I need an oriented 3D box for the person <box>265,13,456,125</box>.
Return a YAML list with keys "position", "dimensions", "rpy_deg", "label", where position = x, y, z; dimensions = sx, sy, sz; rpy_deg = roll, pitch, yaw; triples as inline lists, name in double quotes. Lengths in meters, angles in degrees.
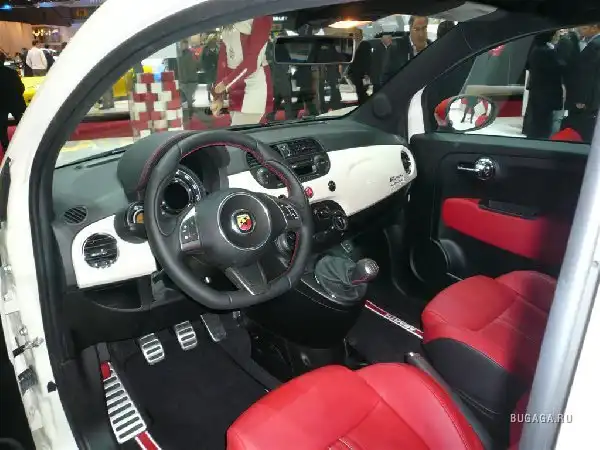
- position: [0.281, -1.006, 2.716]
  dimensions: [1.019, 0.647, 0.967]
  rpy_deg: [-18, 21, -32]
  label: "person"
